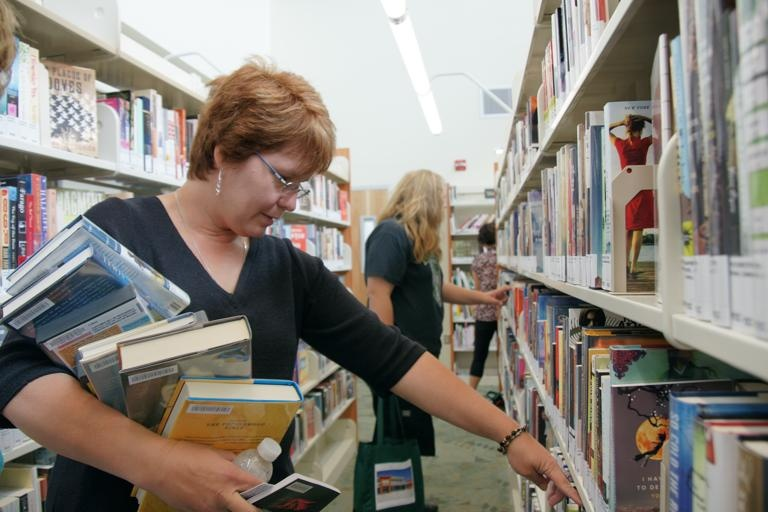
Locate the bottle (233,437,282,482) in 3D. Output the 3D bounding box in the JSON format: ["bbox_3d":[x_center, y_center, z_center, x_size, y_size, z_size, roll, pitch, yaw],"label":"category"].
[{"bbox_3d":[-0.287,0.453,1.282,0.098,0.097,0.071,-1,4,-14],"label":"bottle"}]

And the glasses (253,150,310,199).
[{"bbox_3d":[-0.273,-0.222,1.502,0.031,0.102,0.098,-42,-15,5],"label":"glasses"}]
